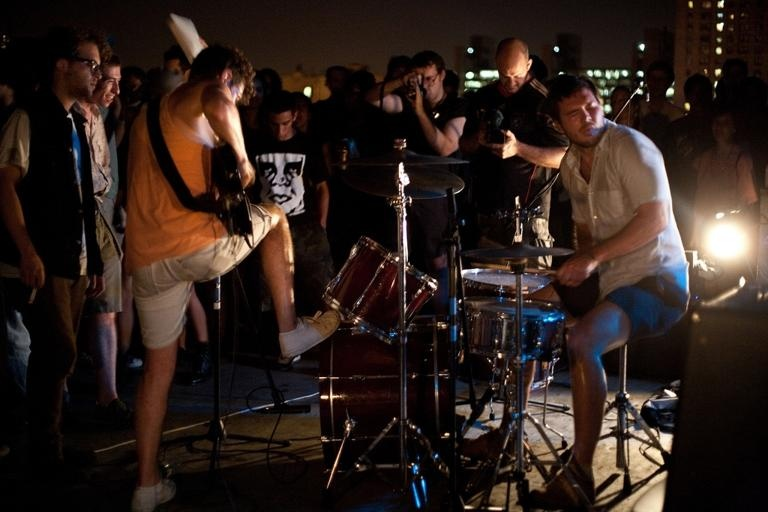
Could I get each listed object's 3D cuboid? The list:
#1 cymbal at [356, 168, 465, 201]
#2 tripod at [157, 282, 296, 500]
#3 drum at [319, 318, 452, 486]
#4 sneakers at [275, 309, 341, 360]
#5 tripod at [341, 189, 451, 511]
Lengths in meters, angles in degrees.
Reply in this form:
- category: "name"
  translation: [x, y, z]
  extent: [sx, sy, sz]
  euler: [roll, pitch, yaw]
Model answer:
- category: "cymbal"
  translation: [0.186, -0.547, 4.926]
  extent: [0.696, 0.266, 0.794]
  euler: [3, 12, 37]
- category: "tripod"
  translation: [-1.138, 0.848, 5.069]
  extent: [1.199, 1.448, 1.258]
  euler: [-9, 27, -21]
- category: "drum"
  translation: [-0.036, 0.894, 4.859]
  extent: [0.952, 1.144, 1.139]
  euler: [3, 16, 10]
- category: "sneakers"
  translation: [-0.466, 0.478, 4.511]
  extent: [0.504, 0.208, 0.207]
  euler: [-36, 31, -27]
- category: "tripod"
  translation: [0.063, 0.549, 4.567]
  extent: [0.717, 1.926, 0.729]
  euler: [3, 0, 0]
